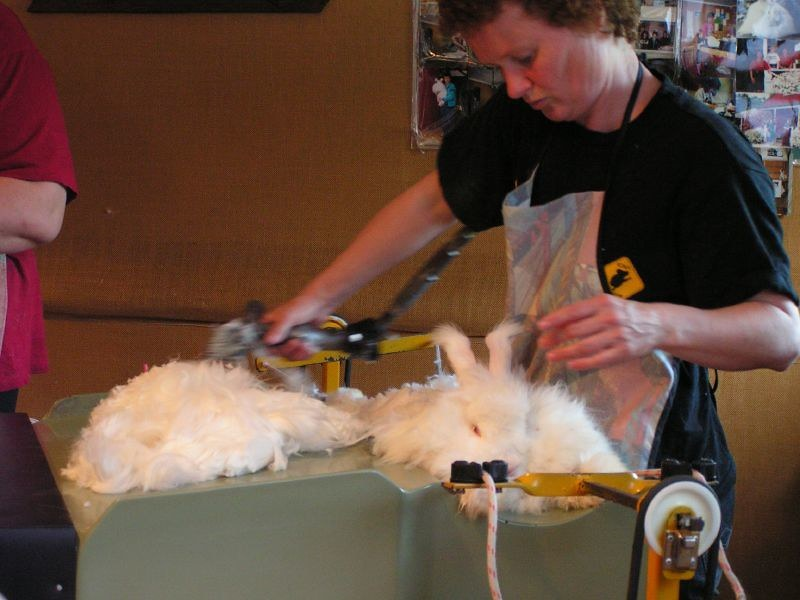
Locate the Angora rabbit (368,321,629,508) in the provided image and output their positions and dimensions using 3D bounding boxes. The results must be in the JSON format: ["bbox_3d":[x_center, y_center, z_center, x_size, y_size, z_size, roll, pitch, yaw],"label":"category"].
[{"bbox_3d":[0.180,0.196,1.876,0.489,0.203,0.362,0,20,-1],"label":"Angora rabbit"}]

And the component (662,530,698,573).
[{"bbox_3d":[0.474,0.420,1.610,0.064,0.073,0.035,1,0,-1],"label":"component"}]

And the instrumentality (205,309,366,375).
[{"bbox_3d":[-0.246,0.081,1.993,0.349,0.127,0.169,1,-23,2],"label":"instrumentality"}]

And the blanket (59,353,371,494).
[{"bbox_3d":[-0.368,0.237,1.898,0.591,0.169,0.363,-6,21,-19],"label":"blanket"}]
